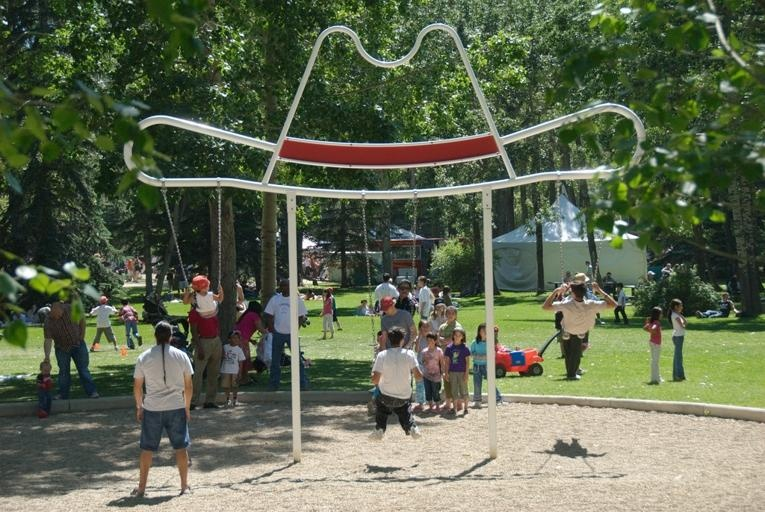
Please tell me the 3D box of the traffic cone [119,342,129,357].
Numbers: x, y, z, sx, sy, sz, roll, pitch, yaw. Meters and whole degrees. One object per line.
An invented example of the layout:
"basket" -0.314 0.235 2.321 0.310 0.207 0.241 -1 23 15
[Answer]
"traffic cone" -7.793 2.812 32.497 0.196 0.203 0.224 3 11 6

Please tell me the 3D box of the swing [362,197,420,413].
"swing" 0.259 1.313 22.621 0.850 2.918 0.941 0 -1 -5

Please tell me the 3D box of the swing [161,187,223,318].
"swing" -7.191 -0.381 40.526 1.825 6.260 1.454 -8 38 5

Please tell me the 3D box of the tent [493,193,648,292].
"tent" 9.871 -0.779 58.595 7.156 4.596 7.280 1 8 22

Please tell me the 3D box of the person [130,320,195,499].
"person" -3.911 2.764 19.325 1.099 2.867 1.237 0 -1 -14

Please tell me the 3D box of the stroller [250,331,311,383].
"stroller" -2.664 2.423 26.757 1.215 1.448 1.125 -3 -4 31
